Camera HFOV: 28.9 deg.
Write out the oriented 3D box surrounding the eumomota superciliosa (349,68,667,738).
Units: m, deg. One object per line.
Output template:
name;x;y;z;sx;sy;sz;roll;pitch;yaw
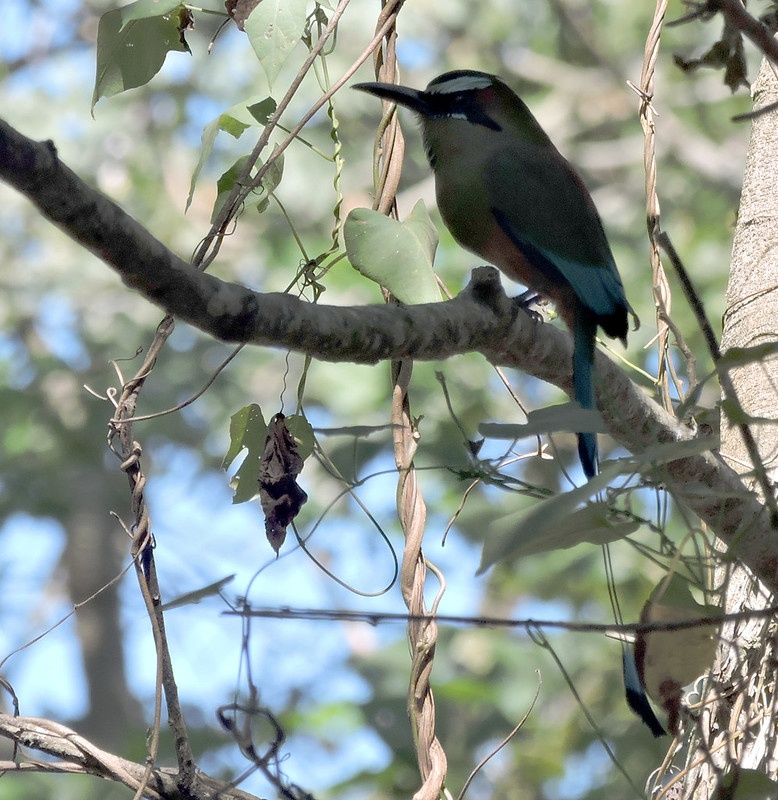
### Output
eumomota superciliosa;0.476;-0.122;4.036;0.410;2.185;0.794;-35;-45;17
